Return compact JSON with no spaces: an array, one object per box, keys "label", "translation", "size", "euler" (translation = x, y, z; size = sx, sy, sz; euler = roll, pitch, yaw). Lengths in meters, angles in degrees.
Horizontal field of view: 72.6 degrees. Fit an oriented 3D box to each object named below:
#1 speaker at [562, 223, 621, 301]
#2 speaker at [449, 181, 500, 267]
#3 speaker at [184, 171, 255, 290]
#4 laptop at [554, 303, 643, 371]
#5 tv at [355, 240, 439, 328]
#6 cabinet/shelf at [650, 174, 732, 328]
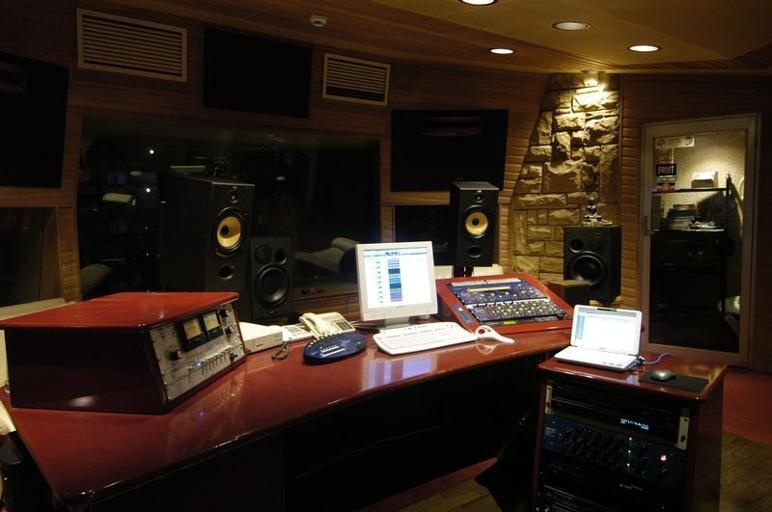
[{"label":"speaker","translation":[1.643,0.072,4.158],"size":[0.396,0.602,0.414],"euler":[-4,5,-38]},{"label":"speaker","translation":[0.705,-0.199,3.803],"size":[0.378,0.540,0.376],"euler":[0,5,-38]},{"label":"speaker","translation":[-0.939,-0.123,3.000],"size":[0.362,0.650,0.170],"euler":[-2,9,-19]},{"label":"laptop","translation":[1.161,0.450,2.889],"size":[0.419,0.221,0.372],"euler":[1,12,32]},{"label":"tv","translation":[0.070,0.189,3.317],"size":[0.557,0.505,0.187],"euler":[-3,-10,-20]},{"label":"cabinet/shelf","translation":[2.968,-0.026,5.139],"size":[0.659,1.292,0.317],"euler":[5,9,29]}]
